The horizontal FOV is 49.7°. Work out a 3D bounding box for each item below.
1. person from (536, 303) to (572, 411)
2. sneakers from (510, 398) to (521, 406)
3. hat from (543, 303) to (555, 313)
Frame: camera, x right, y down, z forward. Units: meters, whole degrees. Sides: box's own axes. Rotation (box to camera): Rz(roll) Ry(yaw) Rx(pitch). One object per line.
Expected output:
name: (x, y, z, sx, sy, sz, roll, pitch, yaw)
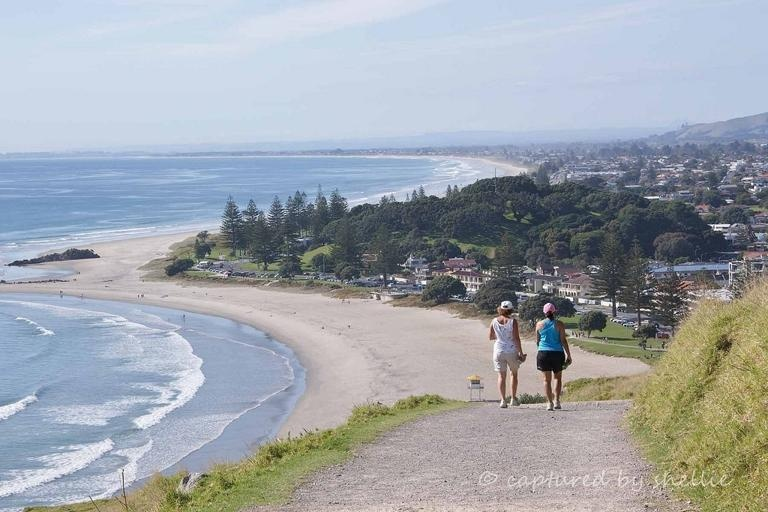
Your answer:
person: (4.888, 2.894, 23.784, 0.902, 3.194, 1.280, 0, 11, 11)
sneakers: (3.960, 4.359, 24.804, 0.225, 0.182, 0.514, -1, -4, 2)
hat: (4.720, 1.481, 23.458, 0.367, 0.207, 0.471, 3, 13, 23)
